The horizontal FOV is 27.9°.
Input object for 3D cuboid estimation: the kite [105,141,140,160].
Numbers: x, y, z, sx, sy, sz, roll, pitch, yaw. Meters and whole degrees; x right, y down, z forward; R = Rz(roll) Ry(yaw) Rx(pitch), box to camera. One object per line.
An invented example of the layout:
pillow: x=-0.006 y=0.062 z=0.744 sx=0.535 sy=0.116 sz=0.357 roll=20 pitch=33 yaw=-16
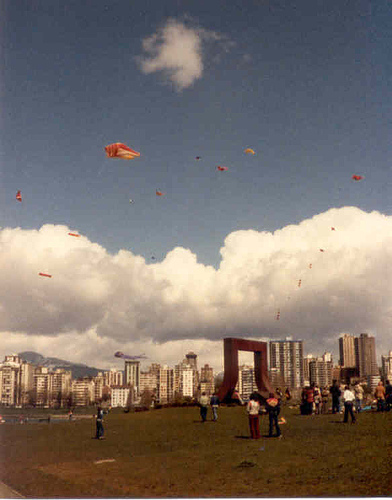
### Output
kite: x=-2.929 y=-3.981 z=31.751 sx=0.767 sy=0.471 sz=1.228 roll=-11 pitch=-16 yaw=39

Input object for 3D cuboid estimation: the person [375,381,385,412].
person: x=7.688 y=6.100 z=32.951 sx=0.376 sy=1.197 sz=1.878 roll=-4 pitch=-13 yaw=13
